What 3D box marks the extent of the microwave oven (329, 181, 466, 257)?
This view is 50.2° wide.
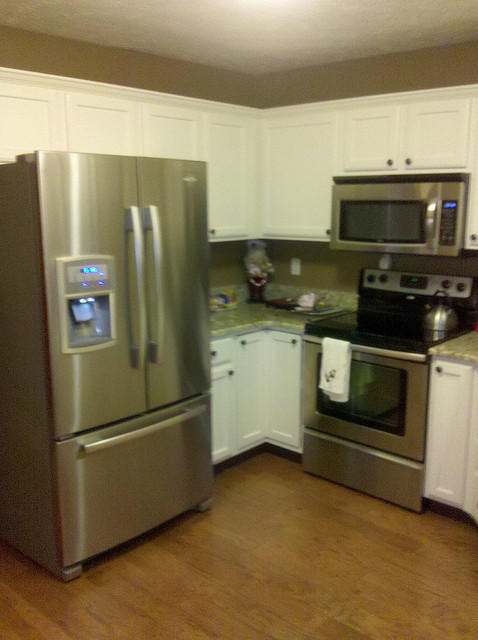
[{"bbox_3d":[0.800,-0.524,2.626,0.626,0.413,0.368,9,16,42],"label":"microwave oven"}]

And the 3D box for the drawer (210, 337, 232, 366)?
[{"bbox_3d":[-0.097,0.166,2.743,0.113,0.140,0.211,-3,1,16],"label":"drawer"}]

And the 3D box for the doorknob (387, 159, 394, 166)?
[{"bbox_3d":[0.793,-0.825,2.670,0.029,0.028,0.029,-11,25,-24],"label":"doorknob"}]

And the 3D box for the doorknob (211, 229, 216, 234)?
[{"bbox_3d":[-0.155,-0.529,3.048,0.023,0.040,0.022,2,18,4],"label":"doorknob"}]

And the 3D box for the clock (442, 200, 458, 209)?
[{"bbox_3d":[0.997,-0.544,2.403,0.036,0.058,0.068,-2,4,-43],"label":"clock"}]

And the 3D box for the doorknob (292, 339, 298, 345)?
[{"bbox_3d":[0.317,0.123,2.922,0.027,0.025,0.027,-15,33,-26],"label":"doorknob"}]

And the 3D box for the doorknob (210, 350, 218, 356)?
[{"bbox_3d":[-0.138,0.172,2.689,0.021,0.023,0.035,3,3,3],"label":"doorknob"}]
